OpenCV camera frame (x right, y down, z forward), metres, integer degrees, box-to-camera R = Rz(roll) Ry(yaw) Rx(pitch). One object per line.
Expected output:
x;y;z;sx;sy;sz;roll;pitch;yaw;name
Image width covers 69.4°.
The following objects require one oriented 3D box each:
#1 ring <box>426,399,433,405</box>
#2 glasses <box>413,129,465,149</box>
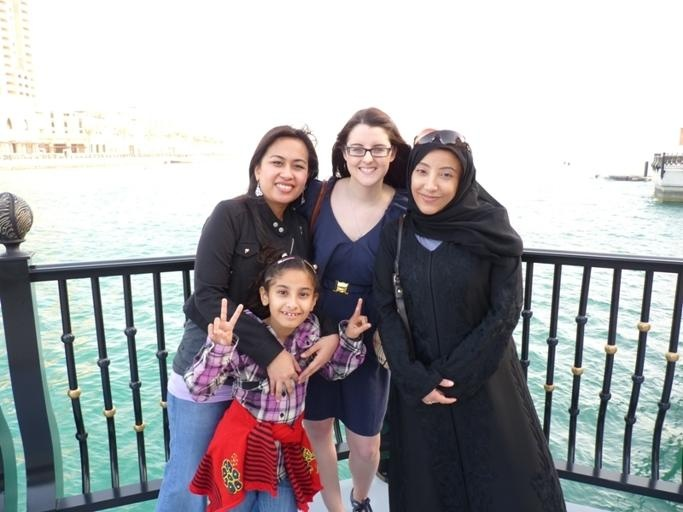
0.442;0.736;2.482;0.011;0.025;0.034;-14;8;-40;ring
0.509;-0.597;2.494;0.263;0.083;0.103;2;10;4;glasses
